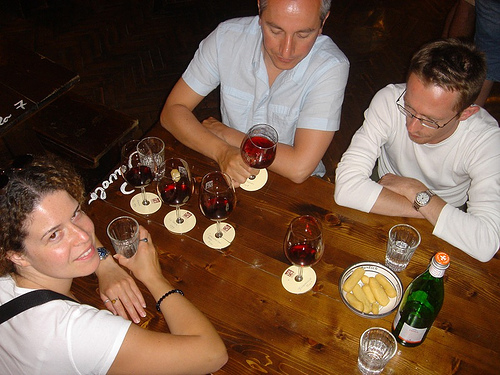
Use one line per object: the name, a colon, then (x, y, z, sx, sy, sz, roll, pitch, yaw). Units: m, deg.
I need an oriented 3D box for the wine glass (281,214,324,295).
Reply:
wine glass: (0.238, 0.308, 1.667, 0.153, 0.360, 0.155, 23, 43, 26)

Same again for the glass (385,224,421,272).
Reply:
glass: (0.723, 0.297, 1.805, 0.139, 0.230, 0.143, 12, 9, -36)

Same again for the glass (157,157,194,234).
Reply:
glass: (-0.385, 0.058, 1.856, 0.137, 0.340, 0.158, -5, 58, -10)

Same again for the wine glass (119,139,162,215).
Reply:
wine glass: (-0.580, -0.078, 1.959, 0.178, 0.418, 0.184, -4, 36, -13)

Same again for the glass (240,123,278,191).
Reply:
glass: (0.047, -0.176, 1.998, 0.198, 0.262, 0.287, 2, 46, 7)

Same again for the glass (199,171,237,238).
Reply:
glass: (-0.160, 0.094, 1.784, 0.106, 0.267, 0.126, 12, 66, 1)
